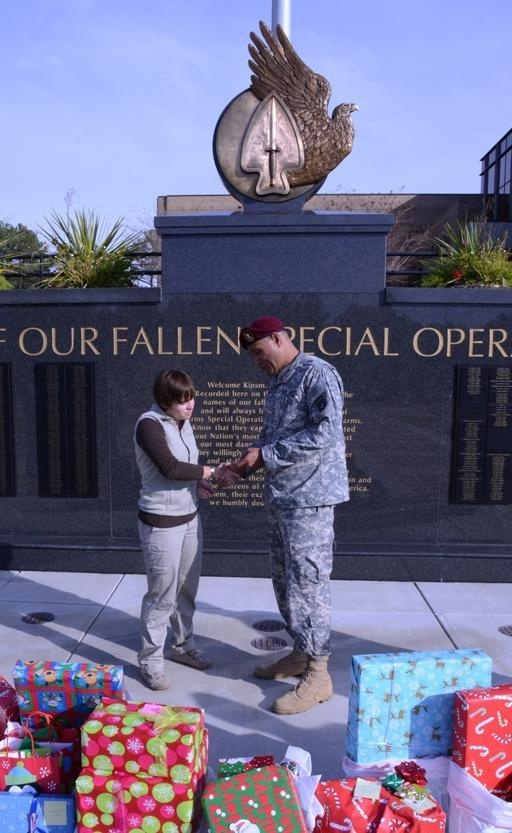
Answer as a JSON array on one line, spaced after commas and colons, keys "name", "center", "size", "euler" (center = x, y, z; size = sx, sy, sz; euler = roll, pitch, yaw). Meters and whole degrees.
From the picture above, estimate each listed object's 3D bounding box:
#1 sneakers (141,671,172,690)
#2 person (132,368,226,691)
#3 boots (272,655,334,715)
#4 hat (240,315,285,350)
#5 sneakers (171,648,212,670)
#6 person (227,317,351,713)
[{"name": "sneakers", "center": [-0.527, 1.335, 4.906], "size": [0.179, 0.070, 0.082], "euler": [7, 11, 36]}, {"name": "person", "center": [-0.439, 0.550, 5.010], "size": [0.491, 1.602, 0.434], "euler": [-7, 12, -39]}, {"name": "boots", "center": [0.215, 1.322, 4.771], "size": [0.369, 0.239, 0.135], "euler": [-11, 13, -29]}, {"name": "hat", "center": [0.033, -0.428, 4.807], "size": [0.197, 0.096, 0.154], "euler": [-21, 4, -19]}, {"name": "sneakers", "center": [-0.352, 1.298, 5.202], "size": [0.220, 0.078, 0.081], "euler": [6, 17, 14]}, {"name": "person", "center": [0.190, 0.466, 4.805], "size": [0.511, 1.900, 0.534], "euler": [-3, 10, -19]}]
